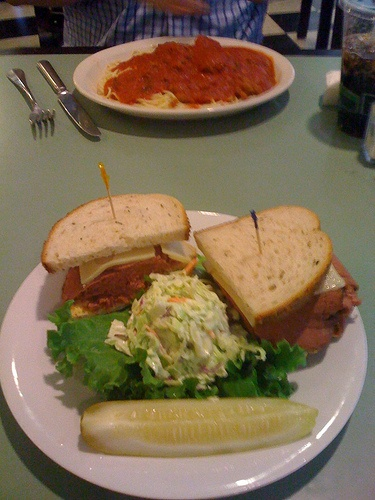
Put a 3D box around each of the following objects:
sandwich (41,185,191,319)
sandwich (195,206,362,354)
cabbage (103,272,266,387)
[{"bbox_3d":[-0.196,-0.025,1.283,0.463,0.176,0.353,-12,31,-2],"label":"sandwich"},{"bbox_3d":[0.229,0.093,1.111,0.382,0.104,0.382,-9,41,-4],"label":"sandwich"},{"bbox_3d":[-0.008,0.189,0.987,0.279,0.110,0.277,27,41,-1],"label":"cabbage"}]
